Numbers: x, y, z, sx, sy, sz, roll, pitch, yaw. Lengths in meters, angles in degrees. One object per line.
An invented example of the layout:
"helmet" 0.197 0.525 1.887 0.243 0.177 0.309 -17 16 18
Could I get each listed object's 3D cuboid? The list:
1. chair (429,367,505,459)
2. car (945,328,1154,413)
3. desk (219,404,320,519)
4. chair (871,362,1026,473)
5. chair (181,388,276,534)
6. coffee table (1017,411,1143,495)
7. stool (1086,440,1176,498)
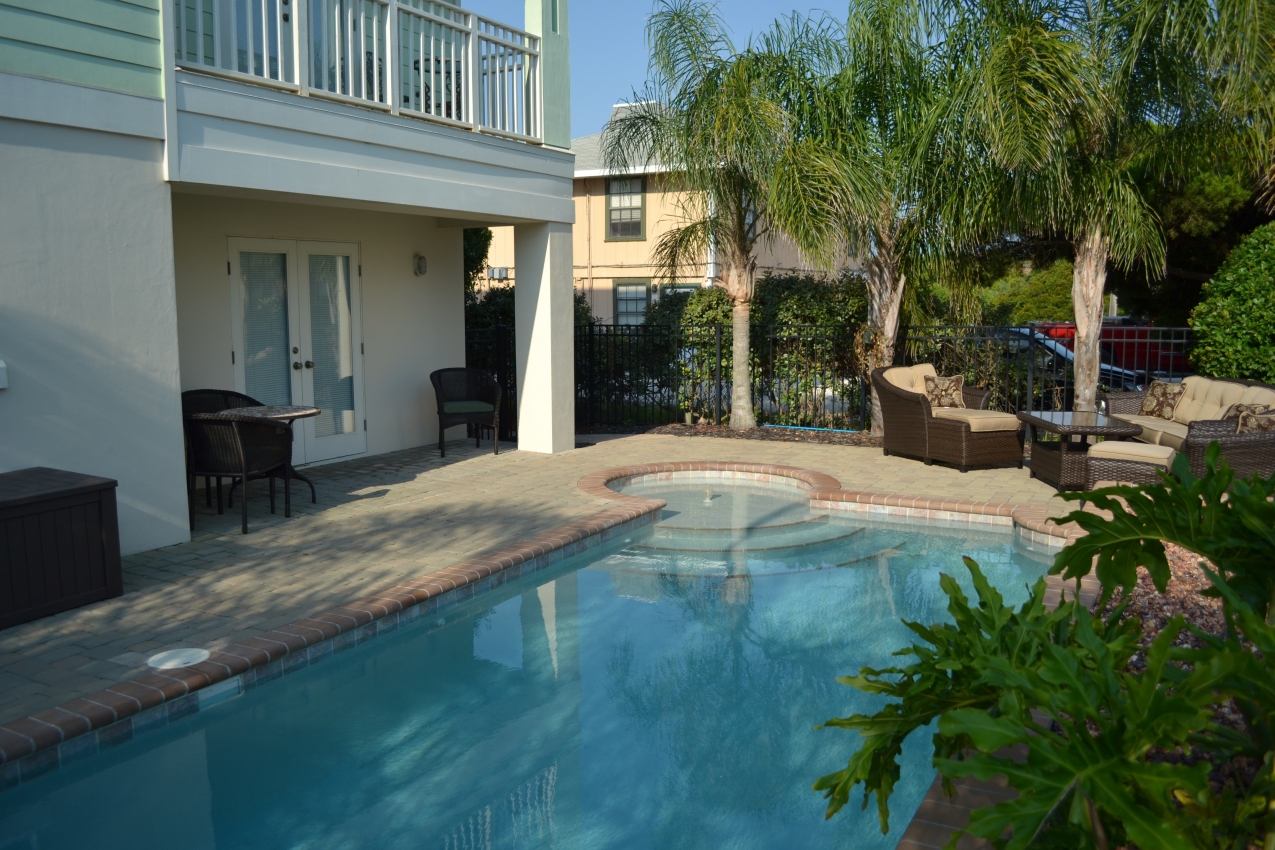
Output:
"chair" -2.518 -0.170 12.925 0.924 1.279 0.925 -2 7 -18
"car" 6.453 -0.638 14.109 3.025 1.651 1.734 -4 9 4
"desk" -3.729 0.408 9.205 0.740 1.183 0.928 0 14 -6
"chair" 4.200 -0.138 12.489 1.152 1.301 1.993 -2 5 -25
"chair" -4.206 0.385 9.160 0.805 1.190 0.932 -1 0 -11
"coffee table" 5.235 0.356 10.860 0.932 0.778 1.445 2 6 6
"stool" 5.290 0.516 9.779 0.777 0.523 0.752 11 17 34
